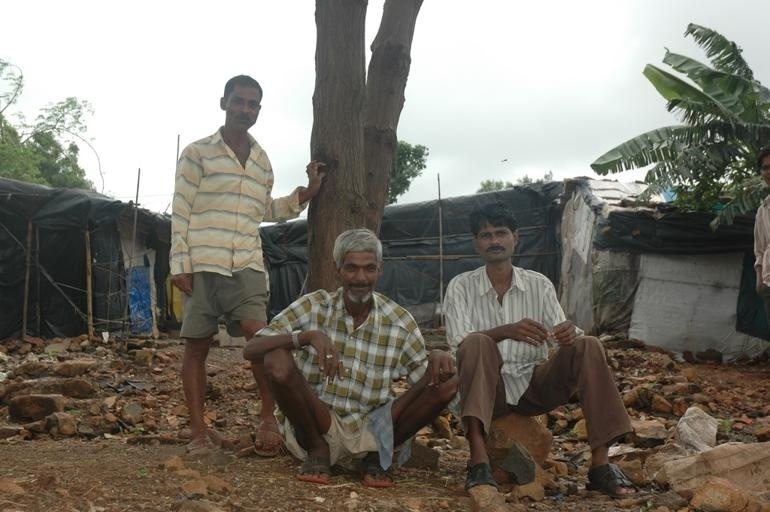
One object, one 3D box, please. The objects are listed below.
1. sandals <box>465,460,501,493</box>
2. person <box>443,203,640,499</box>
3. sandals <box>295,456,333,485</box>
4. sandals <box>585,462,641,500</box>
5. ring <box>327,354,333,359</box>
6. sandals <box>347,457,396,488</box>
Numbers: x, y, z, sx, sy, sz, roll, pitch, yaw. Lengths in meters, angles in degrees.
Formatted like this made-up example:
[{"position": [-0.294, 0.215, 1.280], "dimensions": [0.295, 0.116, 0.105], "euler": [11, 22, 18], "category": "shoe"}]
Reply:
[{"position": [0.805, 1.896, 6.147], "dimensions": [0.261, 0.222, 0.283], "euler": [-1, -1, 6], "category": "sandals"}, {"position": [1.290, 0.781, 6.550], "dimensions": [1.517, 2.397, 0.855], "euler": [-1, 0, 4], "category": "person"}, {"position": [-0.632, 1.874, 6.261], "dimensions": [0.283, 0.228, 0.155], "euler": [-1, 0, -8], "category": "sandals"}, {"position": [1.944, 1.931, 6.245], "dimensions": [0.266, 0.210, 0.506], "euler": [-4, -1, -22], "category": "sandals"}, {"position": [-0.488, 0.869, 6.215], "dimensions": [0.065, 0.032, 0.013], "euler": [-1, 0, -5], "category": "ring"}, {"position": [-0.128, 1.972, 6.550], "dimensions": [0.218, 0.253, 0.639], "euler": [4, -18, 22], "category": "sandals"}]
